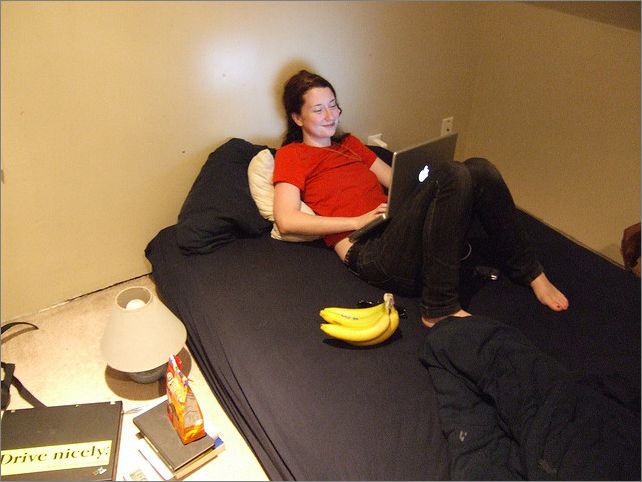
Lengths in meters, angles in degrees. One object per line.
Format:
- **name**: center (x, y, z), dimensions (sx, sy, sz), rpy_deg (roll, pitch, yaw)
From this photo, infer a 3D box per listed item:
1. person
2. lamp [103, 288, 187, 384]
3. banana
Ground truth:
- **person**: center (0.430, -0.295, 2.466), dimensions (1.539, 1.201, 0.884), rpy_deg (9, 25, 37)
- **lamp**: center (-0.800, 0.449, 2.178), dimensions (0.261, 0.324, 0.270), rpy_deg (17, 45, 12)
- **banana**: center (0.169, 0.331, 2.119), dimensions (0.327, 0.220, 0.212), rpy_deg (1, 23, -1)
